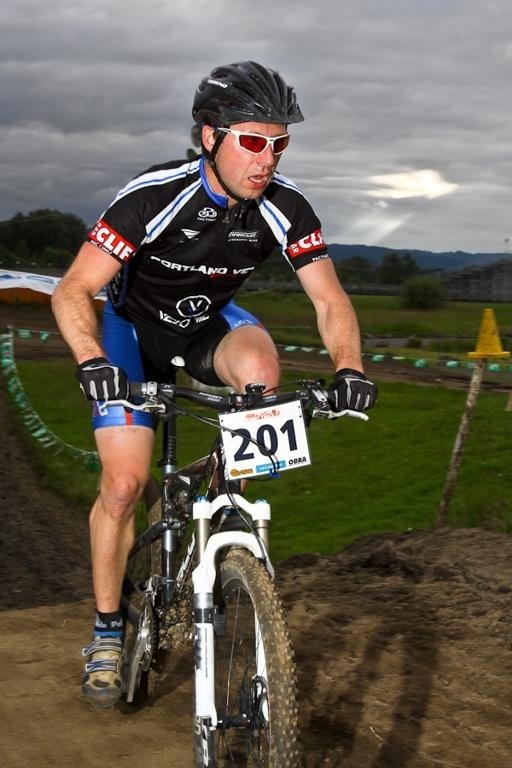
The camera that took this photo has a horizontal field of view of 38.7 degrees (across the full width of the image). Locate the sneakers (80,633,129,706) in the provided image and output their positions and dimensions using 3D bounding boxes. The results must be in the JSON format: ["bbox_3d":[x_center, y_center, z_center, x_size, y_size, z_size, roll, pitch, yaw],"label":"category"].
[{"bbox_3d":[-0.530,1.002,2.555,0.118,0.122,0.287,1,-5,-9],"label":"sneakers"}]

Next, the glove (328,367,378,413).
[{"bbox_3d":[0.275,0.019,2.092,0.108,0.129,0.060,6,-7,0],"label":"glove"}]

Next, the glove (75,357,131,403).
[{"bbox_3d":[-0.392,-0.007,1.881,0.096,0.121,0.055,-27,-20,-9],"label":"glove"}]

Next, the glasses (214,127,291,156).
[{"bbox_3d":[-0.012,-0.776,2.318,0.224,0.095,0.076,0,3,-1],"label":"glasses"}]

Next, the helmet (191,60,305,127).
[{"bbox_3d":[-0.040,-0.943,2.364,0.373,0.247,0.202,1,3,11],"label":"helmet"}]
